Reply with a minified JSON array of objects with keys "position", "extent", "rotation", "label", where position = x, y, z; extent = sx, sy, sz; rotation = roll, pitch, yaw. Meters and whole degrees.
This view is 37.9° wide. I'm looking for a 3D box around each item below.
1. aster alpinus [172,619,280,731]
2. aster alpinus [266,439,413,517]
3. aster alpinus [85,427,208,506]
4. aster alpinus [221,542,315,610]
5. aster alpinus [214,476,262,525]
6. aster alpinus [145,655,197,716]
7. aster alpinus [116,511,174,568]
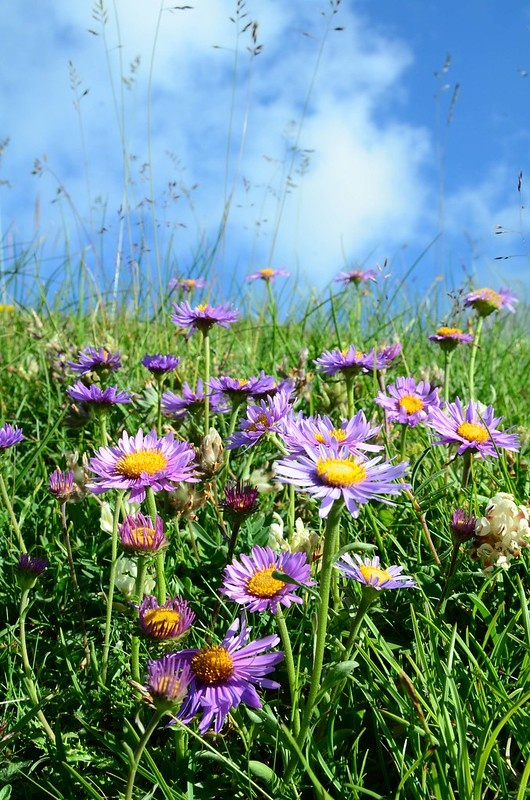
[{"position":[-0.072,0.538,1.479],"extent":[0.194,0.096,0.223],"rotation":[6,44,5],"label":"aster alpinus"},{"position":[0.123,0.168,1.378],"extent":[0.158,0.067,0.172],"rotation":[15,22,19],"label":"aster alpinus"},{"position":[-0.259,0.154,1.632],"extent":[0.183,0.099,0.178],"rotation":[28,39,34],"label":"aster alpinus"},{"position":[0.011,0.348,1.585],"extent":[0.151,0.065,0.169],"rotation":[-5,40,26],"label":"aster alpinus"},{"position":[-0.053,0.248,1.799],"extent":[0.096,0.112,0.100],"rotation":[14,21,37],"label":"aster alpinus"},{"position":[-0.149,0.437,1.188],"extent":[0.058,0.092,0.044],"rotation":[-1,14,-17],"label":"aster alpinus"},{"position":[-0.237,0.263,1.470],"extent":[0.078,0.061,0.083],"rotation":[-1,30,-8],"label":"aster alpinus"}]
